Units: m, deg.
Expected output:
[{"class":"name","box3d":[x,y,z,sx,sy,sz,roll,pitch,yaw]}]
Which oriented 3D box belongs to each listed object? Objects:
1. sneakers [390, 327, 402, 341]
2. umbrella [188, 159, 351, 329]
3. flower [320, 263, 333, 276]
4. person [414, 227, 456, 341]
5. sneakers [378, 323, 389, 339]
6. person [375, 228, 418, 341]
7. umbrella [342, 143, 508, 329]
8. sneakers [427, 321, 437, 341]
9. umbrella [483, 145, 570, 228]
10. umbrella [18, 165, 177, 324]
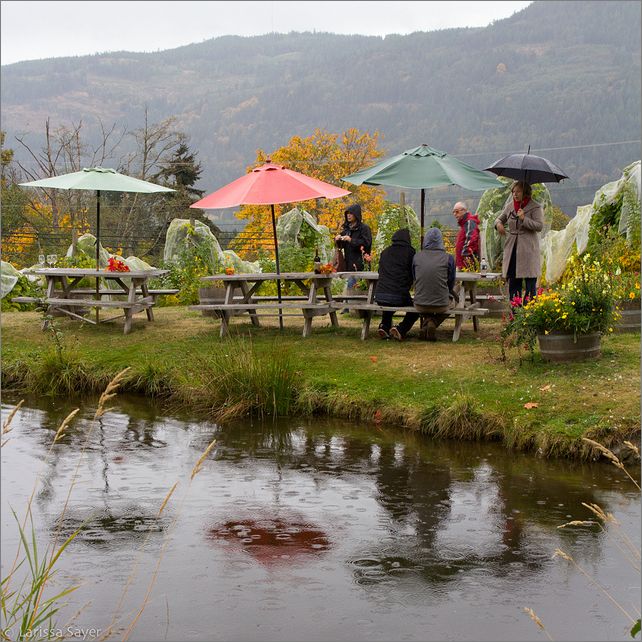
[{"class":"sneakers","box3d":[0.847,0.155,12.811,0.133,0.134,0.336,-2,0,5]},{"class":"umbrella","box3d":[-0.527,-1.156,13.067,1.134,1.327,1.284,-1,19,12]},{"class":"flower","box3d":[0.062,-0.593,13.376,0.119,0.099,0.128,-1,4,-5]},{"class":"person","box3d":[1.243,-0.376,12.454,0.455,1.246,0.665,0,5,6]},{"class":"sneakers","box3d":[0.713,0.126,12.884,0.077,0.082,0.187,13,-18,33]},{"class":"person","box3d":[0.848,-0.395,12.721,0.473,1.245,0.501,0,5,6]},{"class":"umbrella","box3d":[1.232,-1.155,13.322,1.569,1.712,1.666,4,13,28]},{"class":"sneakers","box3d":[1.236,0.120,12.653,0.076,0.258,0.104,-1,5,2]},{"class":"umbrella","box3d":[2.376,-1.700,13.013,0.919,0.408,0.918,-9,19,-33]},{"class":"umbrella","box3d":[-2.707,-0.905,14.129,1.428,1.995,2.459,-1,5,-14]}]
